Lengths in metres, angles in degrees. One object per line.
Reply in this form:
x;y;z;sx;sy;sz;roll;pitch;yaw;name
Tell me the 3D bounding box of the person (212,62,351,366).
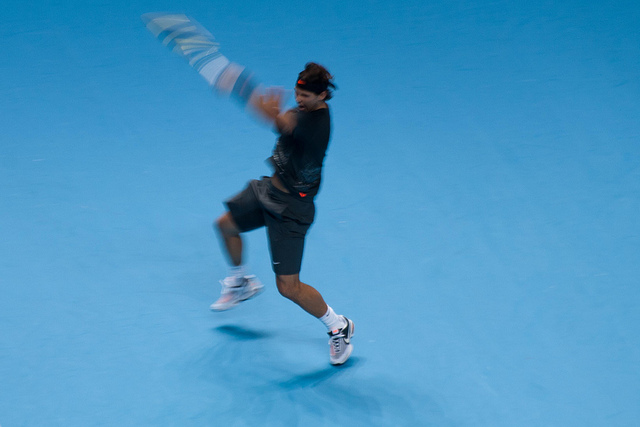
-0.398;-0.054;5.326;1.031;2.169;1.176;-1;38;-6;person
